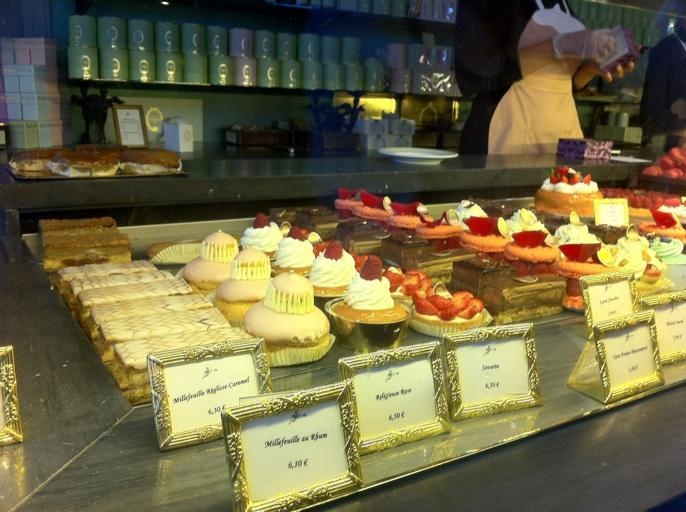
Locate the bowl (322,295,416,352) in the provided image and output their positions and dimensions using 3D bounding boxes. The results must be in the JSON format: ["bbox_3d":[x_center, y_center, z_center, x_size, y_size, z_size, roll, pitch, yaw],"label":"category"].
[{"bbox_3d":[0.039,0.144,0.992,0.186,0.068,0.183,11,-19,4],"label":"bowl"}]

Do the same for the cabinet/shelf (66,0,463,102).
[{"bbox_3d":[-0.525,-1.553,3.822,2.808,0.715,0.487,-9,18,-20],"label":"cabinet/shelf"}]

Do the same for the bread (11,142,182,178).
[{"bbox_3d":[-0.820,-0.313,1.677,0.491,0.106,0.297,-13,20,-31],"label":"bread"}]

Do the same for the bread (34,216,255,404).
[{"bbox_3d":[-0.444,0.003,1.019,0.304,0.071,0.542,-7,26,-27],"label":"bread"}]

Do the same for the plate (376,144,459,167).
[{"bbox_3d":[0.364,-0.450,2.265,0.324,0.067,0.385,7,19,28],"label":"plate"}]
